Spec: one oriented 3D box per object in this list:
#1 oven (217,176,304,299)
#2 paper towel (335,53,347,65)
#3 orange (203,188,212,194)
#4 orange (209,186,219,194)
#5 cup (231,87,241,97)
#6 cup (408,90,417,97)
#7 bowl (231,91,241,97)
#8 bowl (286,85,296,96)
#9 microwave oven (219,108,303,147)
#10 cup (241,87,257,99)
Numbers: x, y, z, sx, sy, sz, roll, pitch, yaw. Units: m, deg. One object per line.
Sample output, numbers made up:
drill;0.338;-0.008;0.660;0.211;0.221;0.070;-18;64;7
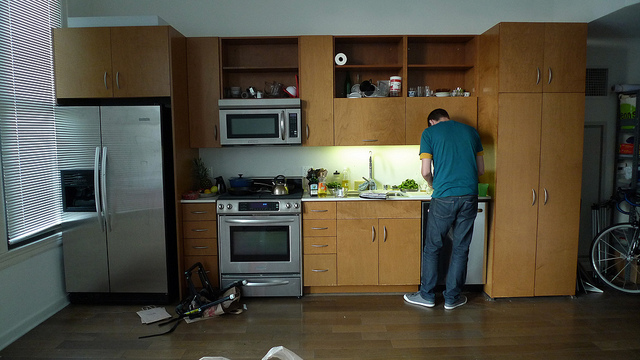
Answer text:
oven;-0.828;0.922;7.491;1.676;1.878;1.397;-1;0;1
paper towel;0.307;-1.771;7.163;0.176;0.161;0.097;-4;8;-5
orange;-1.653;0.170;7.154;0.082;0.032;0.079;-6;18;-30
orange;-1.562;0.139;7.191;0.089;0.071;0.079;-2;22;11
cup;-1.235;-1.293;7.161;0.140;0.124;0.128;0;1;0
cup;1.361;-1.267;7.172;0.153;0.089;0.081;1;10;11
bowl;-1.235;-1.264;7.165;0.150;0.082;0.072;1;13;0
bowl;-0.428;-1.330;7.275;0.139;0.163;0.230;-4;7;-2
microwave oven;-0.661;-0.780;7.381;1.492;0.644;0.930;3;3;27
cup;-1.030;-1.281;7.196;0.241;0.200;0.156;1;-3;-4
